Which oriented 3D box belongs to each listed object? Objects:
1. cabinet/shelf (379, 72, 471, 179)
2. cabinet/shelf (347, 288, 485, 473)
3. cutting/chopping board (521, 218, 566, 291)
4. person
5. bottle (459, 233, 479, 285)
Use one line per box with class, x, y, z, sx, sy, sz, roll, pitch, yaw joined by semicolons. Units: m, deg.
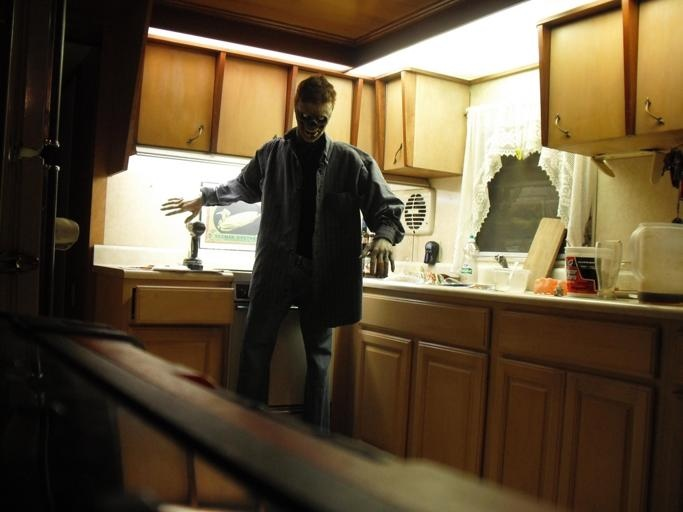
cabinet/shelf;0.484;-0.787;3.222;0.489;0.580;0.341;-1;7;-32
cabinet/shelf;0.402;0.531;2.498;0.663;0.721;0.361;4;-4;30
cutting/chopping board;0.942;-0.019;2.521;0.129;0.322;0.232;8;8;42
person;-0.199;0.100;2.288;0.918;1.280;0.364;6;7;24
bottle;0.711;0.013;2.934;0.095;0.243;0.254;4;7;14
